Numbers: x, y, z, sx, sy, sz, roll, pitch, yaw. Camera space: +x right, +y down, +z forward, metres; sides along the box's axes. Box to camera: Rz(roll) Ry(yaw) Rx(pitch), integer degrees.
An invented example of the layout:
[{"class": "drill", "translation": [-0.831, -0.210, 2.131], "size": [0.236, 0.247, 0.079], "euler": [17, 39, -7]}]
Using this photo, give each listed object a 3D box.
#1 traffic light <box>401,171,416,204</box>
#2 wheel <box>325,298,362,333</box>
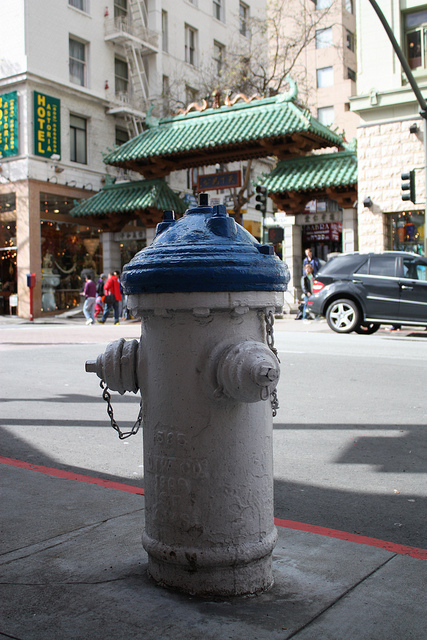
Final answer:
[{"class": "traffic light", "translation": [4.698, -3.180, 20.254], "size": [0.367, 0.741, 0.810], "euler": [-10, 1, 14]}, {"class": "wheel", "translation": [2.432, -0.105, 15.717], "size": [0.564, 0.578, 0.200], "euler": [-10, -4, 40]}]
